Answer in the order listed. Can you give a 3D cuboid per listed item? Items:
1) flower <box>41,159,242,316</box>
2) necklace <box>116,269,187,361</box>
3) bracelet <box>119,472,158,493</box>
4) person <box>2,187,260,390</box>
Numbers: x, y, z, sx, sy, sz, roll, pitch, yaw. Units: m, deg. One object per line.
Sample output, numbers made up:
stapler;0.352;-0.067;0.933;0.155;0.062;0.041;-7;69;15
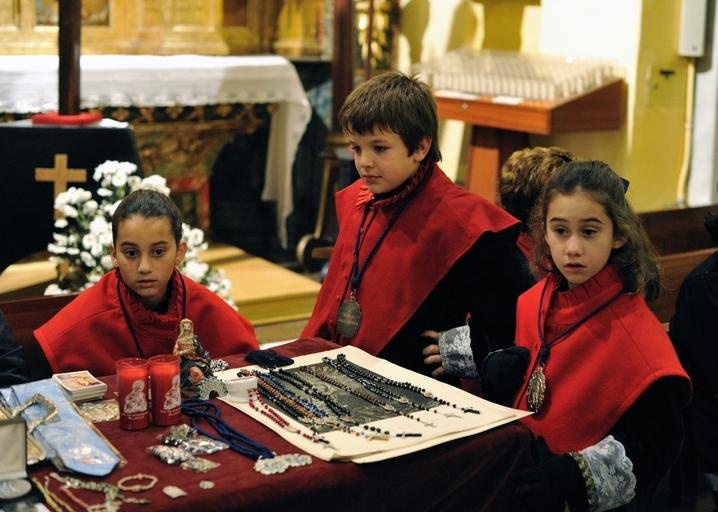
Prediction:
flower;-1.107;0.016;4.041;0.524;0.655;0.511;6;13;30
necklace;-0.740;0.209;2.684;0.224;0.323;0.249;-4;-22;-7
bracelet;-0.542;0.554;1.811;0.100;0.023;0.061;-1;6;-8
person;-1.033;0.130;3.163;1.039;0.851;0.434;-6;11;-29
